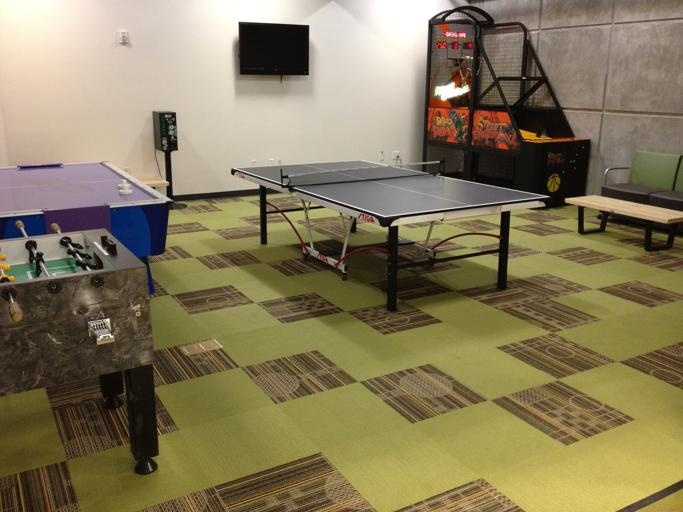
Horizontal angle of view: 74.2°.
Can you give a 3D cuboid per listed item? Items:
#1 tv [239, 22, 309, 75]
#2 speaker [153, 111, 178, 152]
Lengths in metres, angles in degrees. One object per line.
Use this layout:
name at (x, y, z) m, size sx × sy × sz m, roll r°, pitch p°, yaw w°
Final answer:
tv at (-1.187, -3.579, 7.944) m, size 1.442 × 0.785 × 0.116 m, roll -19°, pitch 36°, yaw -37°
speaker at (-2.845, -1.981, 7.309) m, size 0.367 × 0.613 × 0.459 m, roll -10°, pitch 19°, yaw -22°
